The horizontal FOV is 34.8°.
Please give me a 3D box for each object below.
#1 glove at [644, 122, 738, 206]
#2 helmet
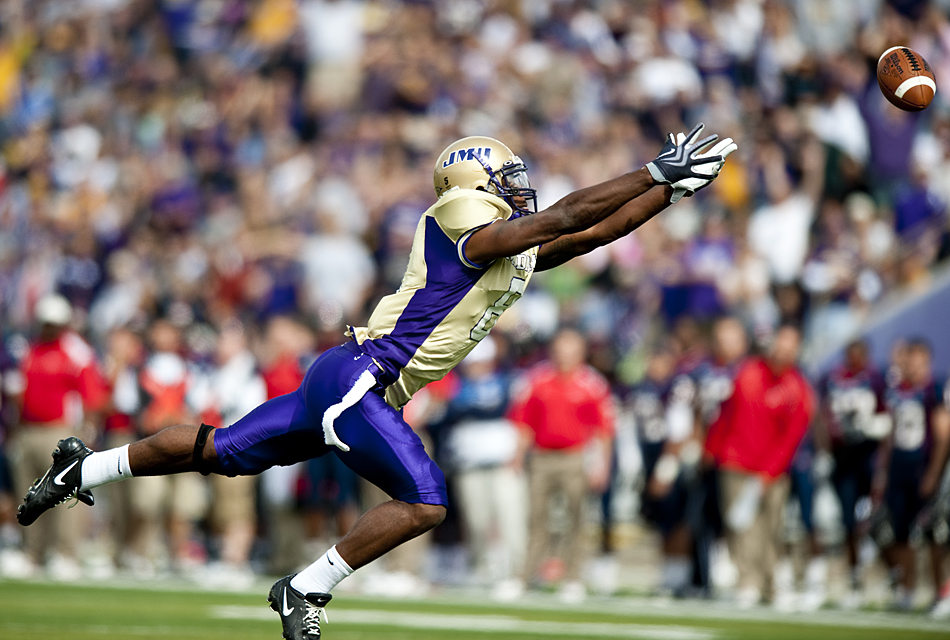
[{"bbox_3d":[1.374,-1.026,9.759,0.575,0.499,0.313,-5,9,-2],"label":"glove"},{"bbox_3d":[0.041,-0.967,9.934,0.600,0.505,0.486,-1,6,2],"label":"helmet"}]
